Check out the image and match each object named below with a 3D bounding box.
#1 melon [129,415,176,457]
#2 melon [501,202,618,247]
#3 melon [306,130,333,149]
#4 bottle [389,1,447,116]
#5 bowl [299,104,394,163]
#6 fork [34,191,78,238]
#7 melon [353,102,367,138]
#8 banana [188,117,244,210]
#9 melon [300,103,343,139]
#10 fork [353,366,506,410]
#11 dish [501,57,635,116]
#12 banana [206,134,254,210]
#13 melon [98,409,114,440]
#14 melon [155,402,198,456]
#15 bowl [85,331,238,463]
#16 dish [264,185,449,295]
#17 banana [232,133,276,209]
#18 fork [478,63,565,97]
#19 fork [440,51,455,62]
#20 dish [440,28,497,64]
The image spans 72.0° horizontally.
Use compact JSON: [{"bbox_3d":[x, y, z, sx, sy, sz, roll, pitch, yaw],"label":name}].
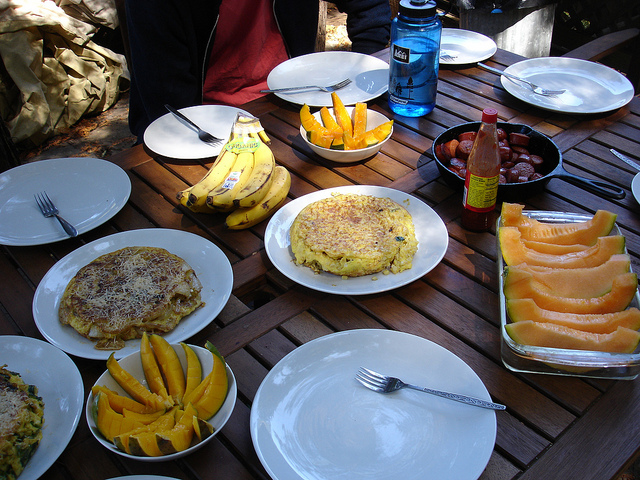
[{"bbox_3d":[-0.373,0.423,0.970,0.067,0.071,0.100,4,52,11],"label":"melon"},{"bbox_3d":[0.752,-0.029,1.406,0.348,0.128,0.095,6,9,7],"label":"melon"},{"bbox_3d":[-0.007,-0.409,1.833,0.110,0.034,0.059,25,71,25],"label":"melon"},{"bbox_3d":[0.439,-0.751,1.988,0.193,0.506,0.215,-14,37,-17],"label":"bottle"},{"bbox_3d":[0.105,-0.438,1.863,0.372,0.142,0.399,0,41,0],"label":"bowl"},{"bbox_3d":[-0.966,-0.079,1.593,0.180,0.027,0.043,48,46,11],"label":"fork"},{"bbox_3d":[0.176,-0.489,1.938,0.073,0.250,0.053,5,76,9],"label":"melon"},{"bbox_3d":[-0.330,-0.285,1.641,0.070,0.139,0.411,19,52,13],"label":"banana"},{"bbox_3d":[0.007,-0.488,1.874,0.058,0.078,0.241,-22,60,-38],"label":"melon"},{"bbox_3d":[0.255,0.364,1.077,0.259,0.029,0.033,14,56,13],"label":"fork"},{"bbox_3d":[1.188,-0.721,2.133,0.442,0.067,0.460,4,45,9],"label":"dish"},{"bbox_3d":[-0.305,-0.243,1.607,0.076,0.106,0.308,24,52,0],"label":"banana"},{"bbox_3d":[-0.481,0.409,0.980,0.028,0.031,0.051,9,53,15],"label":"melon"},{"bbox_3d":[-0.314,0.420,0.970,0.068,0.030,0.078,3,10,-33],"label":"melon"},{"bbox_3d":[-0.371,0.366,1.033,0.327,0.103,0.284,15,55,18],"label":"bowl"},{"bbox_3d":[0.137,-0.006,1.438,0.396,0.062,0.410,9,39,16],"label":"dish"},{"bbox_3d":[-0.235,-0.244,1.594,0.085,0.087,0.270,14,48,-5],"label":"banana"},{"bbox_3d":[1.024,-0.771,2.189,0.429,0.050,0.058,29,62,29],"label":"fork"},{"bbox_3d":[0.695,-0.976,2.399,0.032,0.002,0.105,-47,61,0],"label":"fork"},{"bbox_3d":[0.828,-1.053,2.506,0.288,0.043,0.298,2,47,4],"label":"dish"}]
